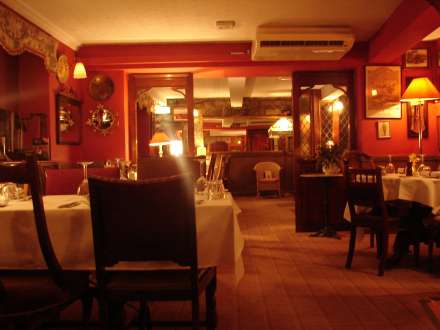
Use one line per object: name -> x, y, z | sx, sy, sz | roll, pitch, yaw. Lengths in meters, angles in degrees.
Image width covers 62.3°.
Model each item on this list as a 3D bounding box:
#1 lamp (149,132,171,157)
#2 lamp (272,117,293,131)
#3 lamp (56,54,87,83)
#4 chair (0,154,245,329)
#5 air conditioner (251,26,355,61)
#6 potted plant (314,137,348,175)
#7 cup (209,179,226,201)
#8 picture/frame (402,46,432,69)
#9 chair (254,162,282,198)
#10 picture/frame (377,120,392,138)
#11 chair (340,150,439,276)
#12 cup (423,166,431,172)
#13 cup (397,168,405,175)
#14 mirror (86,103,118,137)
lamp -> -1.299, -0.425, 7.889 | 0.497, 0.558, 0.521 | -5, 1, -13
lamp -> 1.812, -1.151, 10.591 | 0.657, 0.357, 0.767 | 0, 7, 10
lamp -> -2.257, -1.487, 5.565 | 0.423, 0.438, 0.330 | -2, 15, 6
chair -> -0.736, 0.620, 2.643 | 1.778, 1.138, 0.765 | -1, 5, 1
air conditioner -> 1.222, -1.844, 5.477 | 1.429, 0.450, 0.413 | -1, 5, 0
potted plant -> 1.560, -0.145, 5.361 | 0.452, 0.531, 0.490 | 1, -2, 1
cup -> -0.017, 0.197, 2.935 | 0.141, 0.140, 0.135 | -1, -5, 0
picture/frame -> 3.139, -1.709, 5.847 | 0.367, 0.340, 0.039 | 1, 1, -2
chair -> 1.283, 0.400, 9.882 | 0.747, 0.947, 0.727 | -1, 5, 8
picture/frame -> 2.607, -0.572, 5.818 | 0.279, 0.394, 0.040 | 0, 0, -2
chair -> 1.802, 0.479, 4.311 | 1.038, 1.209, 1.242 | -2, 5, -12
cup -> 2.499, 0.051, 4.411 | 0.075, 0.083, 0.075 | -2, 9, 0
cup -> 2.266, 0.084, 4.564 | 0.071, 0.093, 0.078 | 1, 6, 0
mirror -> -1.983, -0.789, 6.135 | 0.538, 0.571, 0.032 | -1, -1, -1
